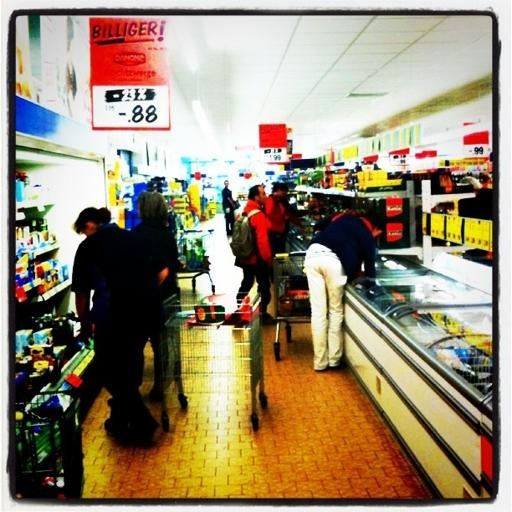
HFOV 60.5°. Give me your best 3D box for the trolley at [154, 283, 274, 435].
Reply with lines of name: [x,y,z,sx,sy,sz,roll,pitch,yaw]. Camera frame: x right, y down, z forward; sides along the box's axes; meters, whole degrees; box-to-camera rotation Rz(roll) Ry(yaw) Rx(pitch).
trolley: [-0.397,0.872,3.837,0.813,1.375,1.046,-1,-3,-2]

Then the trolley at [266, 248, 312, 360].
trolley: [0.389,0.478,5.102,0.564,1.090,0.979,-1,14,2]

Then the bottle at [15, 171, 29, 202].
bottle: [-1.535,-0.447,2.871,0.066,0.189,0.339,-5,10,-26]

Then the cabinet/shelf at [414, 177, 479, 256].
cabinet/shelf: [1.947,-0.365,4.639,0.428,0.853,0.501,0,8,8]

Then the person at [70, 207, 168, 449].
person: [-1.048,0.543,3.308,0.595,1.792,0.306,-2,8,-11]

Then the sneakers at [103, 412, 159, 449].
sneakers: [-0.970,1.346,3.363,0.339,0.230,0.120,4,-3,-8]

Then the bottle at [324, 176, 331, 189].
bottle: [1.372,-1.394,8.433,0.060,0.234,0.160,1,13,-3]

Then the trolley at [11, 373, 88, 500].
trolley: [-1.203,1.115,2.543,0.342,0.546,0.361,-7,-5,31]

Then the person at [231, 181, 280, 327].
person: [-0.020,-0.080,6.063,0.584,1.844,0.626,2,27,9]

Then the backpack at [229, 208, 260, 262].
backpack: [-0.174,-0.226,5.903,0.312,0.645,0.427,-4,4,-23]
